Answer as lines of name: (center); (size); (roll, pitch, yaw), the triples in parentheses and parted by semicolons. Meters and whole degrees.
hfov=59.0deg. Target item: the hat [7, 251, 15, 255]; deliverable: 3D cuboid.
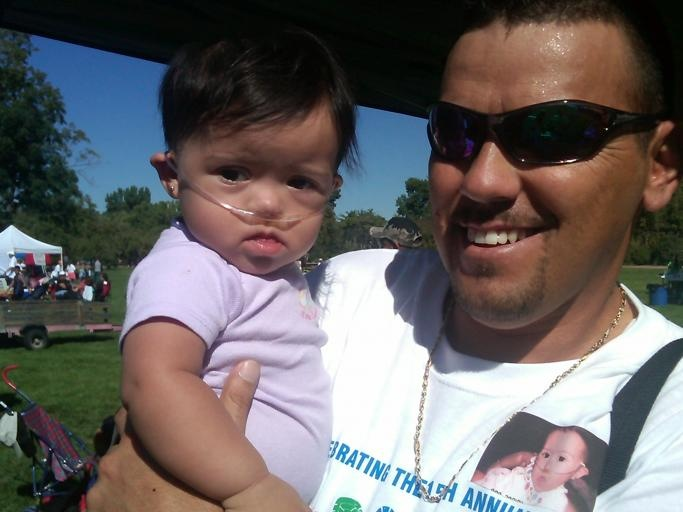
hat: (-12.372, -0.116, 22.553); (0.254, 0.150, 0.193); (9, 6, 2)

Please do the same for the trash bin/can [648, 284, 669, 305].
trash bin/can: (11.495, 1.387, 21.888); (0.711, 0.856, 0.804); (2, 1, 1)

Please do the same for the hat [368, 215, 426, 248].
hat: (0.900, -0.336, 9.384); (0.628, 0.275, 0.703); (9, 0, 9)

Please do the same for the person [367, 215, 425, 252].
person: (0.881, -0.473, 9.453); (0.668, 0.274, 0.723); (7, 11, 7)
